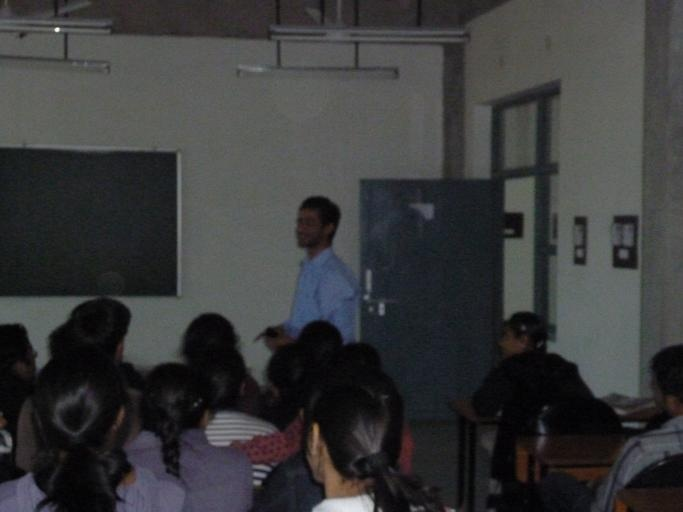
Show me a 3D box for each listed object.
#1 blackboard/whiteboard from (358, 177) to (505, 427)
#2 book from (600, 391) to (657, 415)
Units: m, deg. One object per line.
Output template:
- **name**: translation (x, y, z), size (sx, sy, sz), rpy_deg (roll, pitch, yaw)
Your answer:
- **blackboard/whiteboard**: translation (0.597, 0.355, 6.665), size (0.950, 1.769, 0.055), rpy_deg (2, 25, 7)
- **book**: translation (1.662, 0.848, 4.984), size (0.209, 0.073, 0.214), rpy_deg (0, 5, -10)
